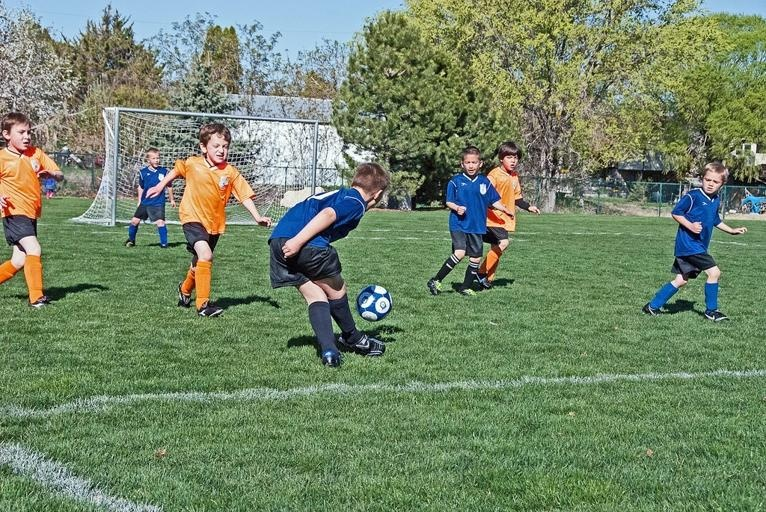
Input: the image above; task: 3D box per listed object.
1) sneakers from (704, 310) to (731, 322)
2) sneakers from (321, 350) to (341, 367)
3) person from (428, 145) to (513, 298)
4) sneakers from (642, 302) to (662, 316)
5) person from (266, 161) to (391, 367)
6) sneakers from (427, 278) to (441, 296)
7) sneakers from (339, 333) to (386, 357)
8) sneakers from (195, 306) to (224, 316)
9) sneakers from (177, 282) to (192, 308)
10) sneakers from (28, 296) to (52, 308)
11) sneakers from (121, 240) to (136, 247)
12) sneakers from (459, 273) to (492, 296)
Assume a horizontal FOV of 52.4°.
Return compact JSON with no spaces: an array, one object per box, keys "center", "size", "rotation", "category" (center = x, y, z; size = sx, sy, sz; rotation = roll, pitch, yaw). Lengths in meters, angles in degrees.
[{"center":[4.078,0.733,9.550],"size":[0.282,0.135,0.118],"rotation":[0,5,17],"category":"sneakers"},{"center":[-0.491,0.956,7.329],"size":[0.121,0.135,0.163],"rotation":[3,18,2],"category":"sneakers"},{"center":[1.162,-0.477,10.737],"size":[0.997,2.002,0.815],"rotation":[3,10,8],"category":"person"},{"center":[3.327,0.664,9.778],"size":[0.290,0.145,0.110],"rotation":[5,5,16],"category":"sneakers"},{"center":[-0.515,0.071,7.266],"size":[1.101,1.888,0.526],"rotation":[-1,10,-9],"category":"person"},{"center":[0.687,0.411,10.689],"size":[0.144,0.103,0.284],"rotation":[-8,33,-8],"category":"sneakers"},{"center":[-0.206,0.866,7.711],"size":[0.453,0.228,0.203],"rotation":[2,20,-3],"category":"sneakers"},{"center":[-1.973,0.616,8.896],"size":[0.259,0.127,0.126],"rotation":[-2,-2,18],"category":"sneakers"},{"center":[-2.425,0.515,9.405],"size":[0.122,0.170,0.357],"rotation":[2,0,-26],"category":"sneakers"},{"center":[-3.906,0.522,8.917],"size":[0.180,0.082,0.086],"rotation":[-12,-8,32],"category":"sneakers"},{"center":[-4.523,-0.233,13.917],"size":[0.103,0.120,0.252],"rotation":[0,-5,-35],"category":"sneakers"},{"center":[1.222,0.421,11.123],"size":[0.221,0.308,0.637],"rotation":[8,-12,-43],"category":"sneakers"}]
